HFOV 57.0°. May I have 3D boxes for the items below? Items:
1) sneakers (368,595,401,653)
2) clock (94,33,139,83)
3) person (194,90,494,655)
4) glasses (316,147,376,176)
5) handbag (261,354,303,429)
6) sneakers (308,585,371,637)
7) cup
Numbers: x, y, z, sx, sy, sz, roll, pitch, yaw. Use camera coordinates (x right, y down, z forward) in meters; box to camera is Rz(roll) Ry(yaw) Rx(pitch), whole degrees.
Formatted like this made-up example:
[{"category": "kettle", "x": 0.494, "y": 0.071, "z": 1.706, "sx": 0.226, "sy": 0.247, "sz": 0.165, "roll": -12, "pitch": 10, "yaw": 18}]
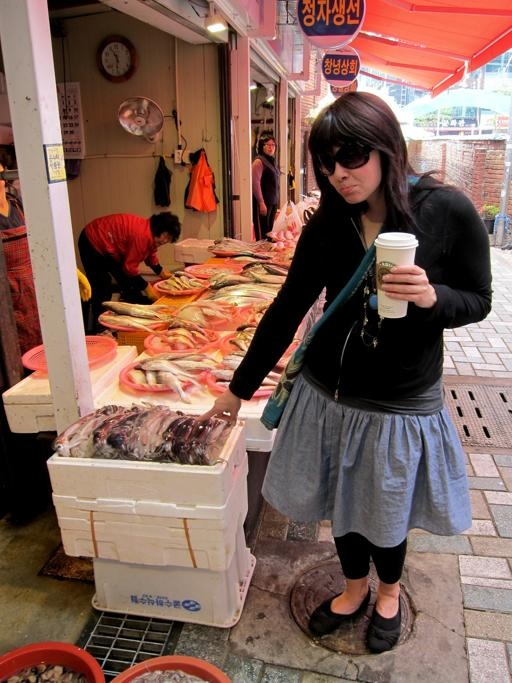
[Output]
[{"category": "sneakers", "x": 0.525, "y": 1.119, "z": 1.899, "sx": 0.116, "sy": 0.072, "sz": 0.305, "roll": 6, "pitch": 14, "yaw": 22}, {"category": "clock", "x": -2.167, "y": -4.485, "z": 7.396, "sx": 0.715, "sy": 0.666, "sz": 0.092, "roll": 10, "pitch": 23, "yaw": 17}, {"category": "person", "x": 0.342, "y": 0.259, "z": 1.588, "sx": 0.541, "sy": 1.925, "sz": 0.674, "roll": -9, "pitch": 15, "yaw": -38}, {"category": "glasses", "x": 0.222, "y": -0.472, "z": 1.241, "sx": 0.075, "sy": 0.060, "sz": 0.162, "roll": -7, "pitch": 14, "yaw": -33}, {"category": "handbag", "x": 0.114, "y": 0.165, "z": 1.762, "sx": 0.076, "sy": 0.353, "sz": 0.100, "roll": 12, "pitch": -22, "yaw": 32}, {"category": "sneakers", "x": 0.358, "y": 1.118, "z": 1.994, "sx": 0.305, "sy": 0.100, "sz": 0.100, "roll": -8, "pitch": 14, "yaw": -37}, {"category": "cup", "x": 0.340, "y": -0.155, "z": 1.171, "sx": 0.092, "sy": 0.219, "sz": 0.184, "roll": 3, "pitch": 12, "yaw": 14}]
